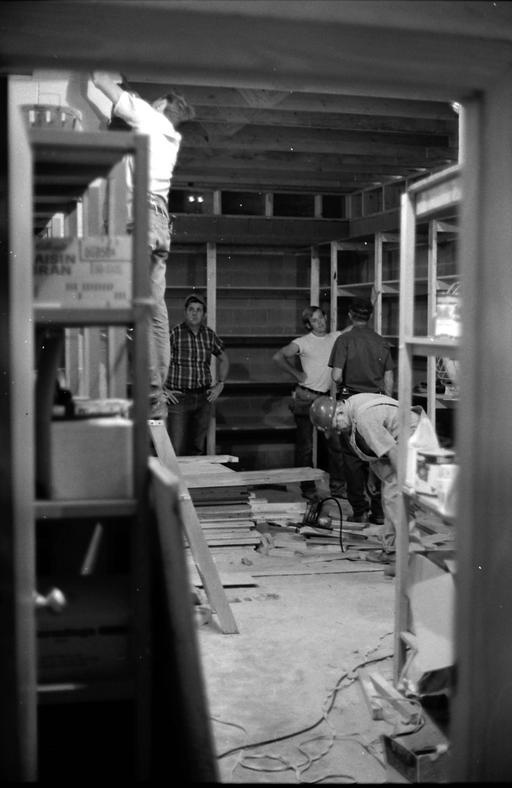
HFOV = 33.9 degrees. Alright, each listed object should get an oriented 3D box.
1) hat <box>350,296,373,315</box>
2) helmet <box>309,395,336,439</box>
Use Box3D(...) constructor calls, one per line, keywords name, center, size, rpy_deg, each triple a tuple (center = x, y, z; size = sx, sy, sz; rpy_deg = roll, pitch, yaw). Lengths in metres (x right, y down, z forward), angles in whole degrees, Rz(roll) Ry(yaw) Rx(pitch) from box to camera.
Box3D(name="hat", center=(0.848, -0.704, 6.735), size=(0.141, 0.147, 0.117), rpy_deg=(-4, 9, 8))
Box3D(name="helmet", center=(0.495, 0.168, 5.840), size=(0.225, 0.264, 0.191), rpy_deg=(4, 1, -20))
